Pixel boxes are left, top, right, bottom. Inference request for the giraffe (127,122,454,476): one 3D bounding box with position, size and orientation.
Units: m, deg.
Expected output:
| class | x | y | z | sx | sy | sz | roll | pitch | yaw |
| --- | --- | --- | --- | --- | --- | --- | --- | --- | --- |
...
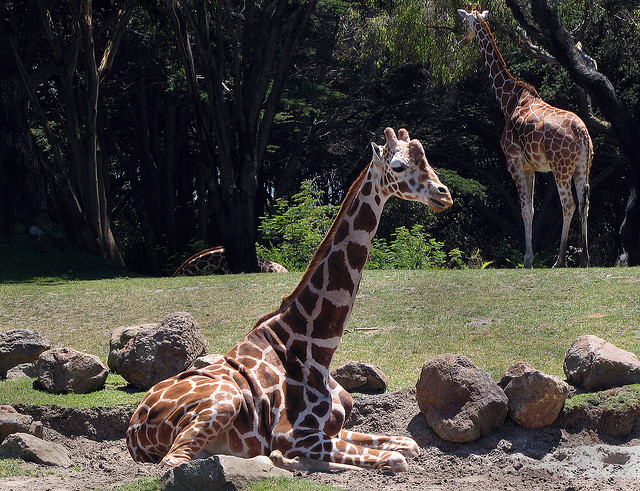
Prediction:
| class | x | y | z | sx | sy | sz | roll | pitch | yaw |
| --- | --- | --- | --- | --- | --- | --- | --- | --- | --- |
| giraffe | -0.621 | 1.413 | 16.378 | 5.426 | 7.106 | 3.134 | -3 | -25 | 0 |
